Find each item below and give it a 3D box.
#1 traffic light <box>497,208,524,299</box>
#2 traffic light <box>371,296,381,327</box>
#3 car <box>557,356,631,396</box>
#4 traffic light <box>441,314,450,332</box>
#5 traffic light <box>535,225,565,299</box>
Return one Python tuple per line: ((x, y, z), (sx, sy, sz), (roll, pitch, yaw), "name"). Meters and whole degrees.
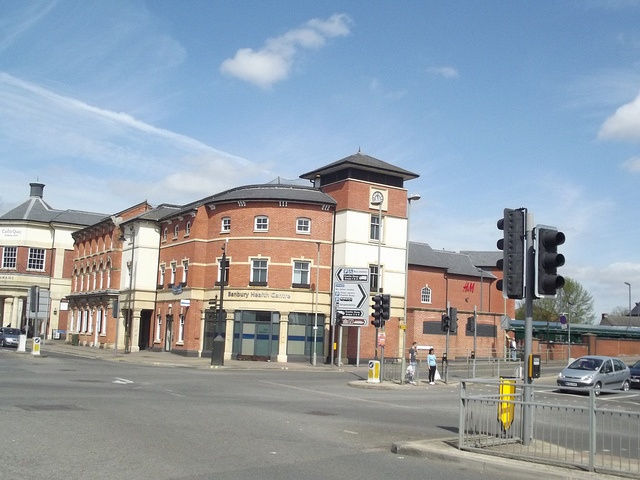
((4.443, 0.267, 14.065), (0.480, 2.073, 0.296), (-2, -11, 20), "traffic light")
((2.965, 3.674, 32.013), (0.496, 1.562, 1.167), (1, -10, 6), "traffic light")
((13.439, 6.509, 30.282), (2.087, 1.539, 4.127), (-7, -14, 42), "car")
((6.722, 4.363, 32.838), (0.360, 0.899, 1.294), (0, -10, 12), "traffic light")
((5.104, 0.463, 13.655), (0.600, 1.582, 0.539), (-2, -11, 19), "traffic light")
